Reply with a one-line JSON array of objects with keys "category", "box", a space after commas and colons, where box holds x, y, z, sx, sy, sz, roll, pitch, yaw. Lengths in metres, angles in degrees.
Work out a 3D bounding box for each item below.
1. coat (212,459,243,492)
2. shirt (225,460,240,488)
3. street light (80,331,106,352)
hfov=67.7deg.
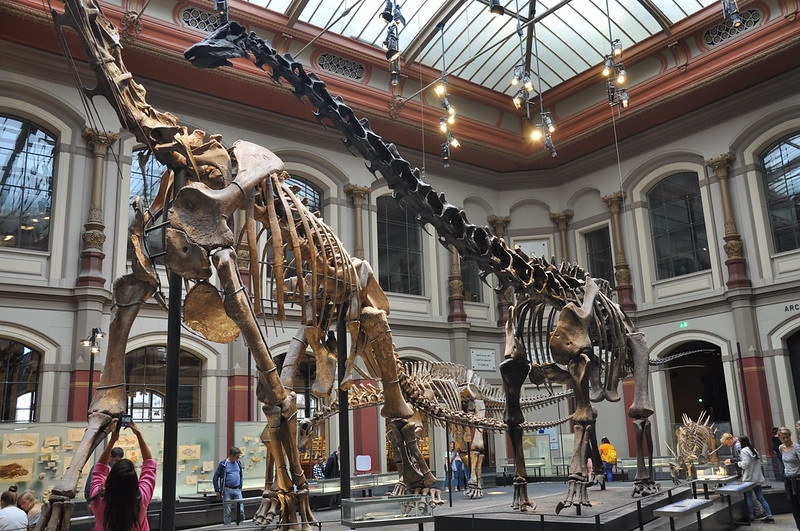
[{"category": "coat", "box": [-3.359, 4.133, 11.765, 0.366, 0.601, 0.634, -19, -23, 40]}, {"category": "shirt", "box": [-3.287, 4.081, 11.641, 0.421, 0.461, 0.244, 15, -34, -43]}, {"category": "street light", "box": [-7.757, 1.900, 14.948, 0.603, 0.728, 0.552, 8, -15, -36]}]
